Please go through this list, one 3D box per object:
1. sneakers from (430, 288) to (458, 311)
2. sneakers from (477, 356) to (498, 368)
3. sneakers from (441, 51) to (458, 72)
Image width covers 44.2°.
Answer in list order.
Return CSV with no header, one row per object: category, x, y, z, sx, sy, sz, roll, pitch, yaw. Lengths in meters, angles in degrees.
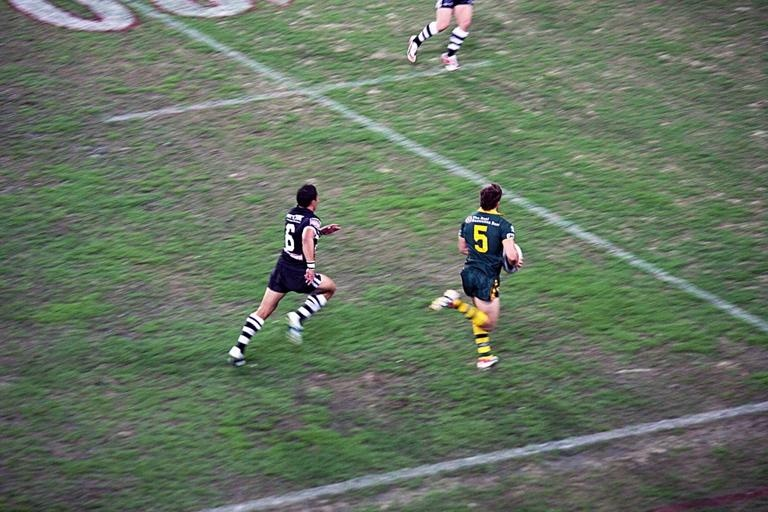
sneakers,0.831,0.605,12.698,0.504,0.143,0.222,-25,73,-7
sneakers,1.389,1.434,12.777,0.359,0.099,0.129,-9,48,-4
sneakers,1.229,-3.543,17.528,0.295,0.185,0.440,-11,40,-14
